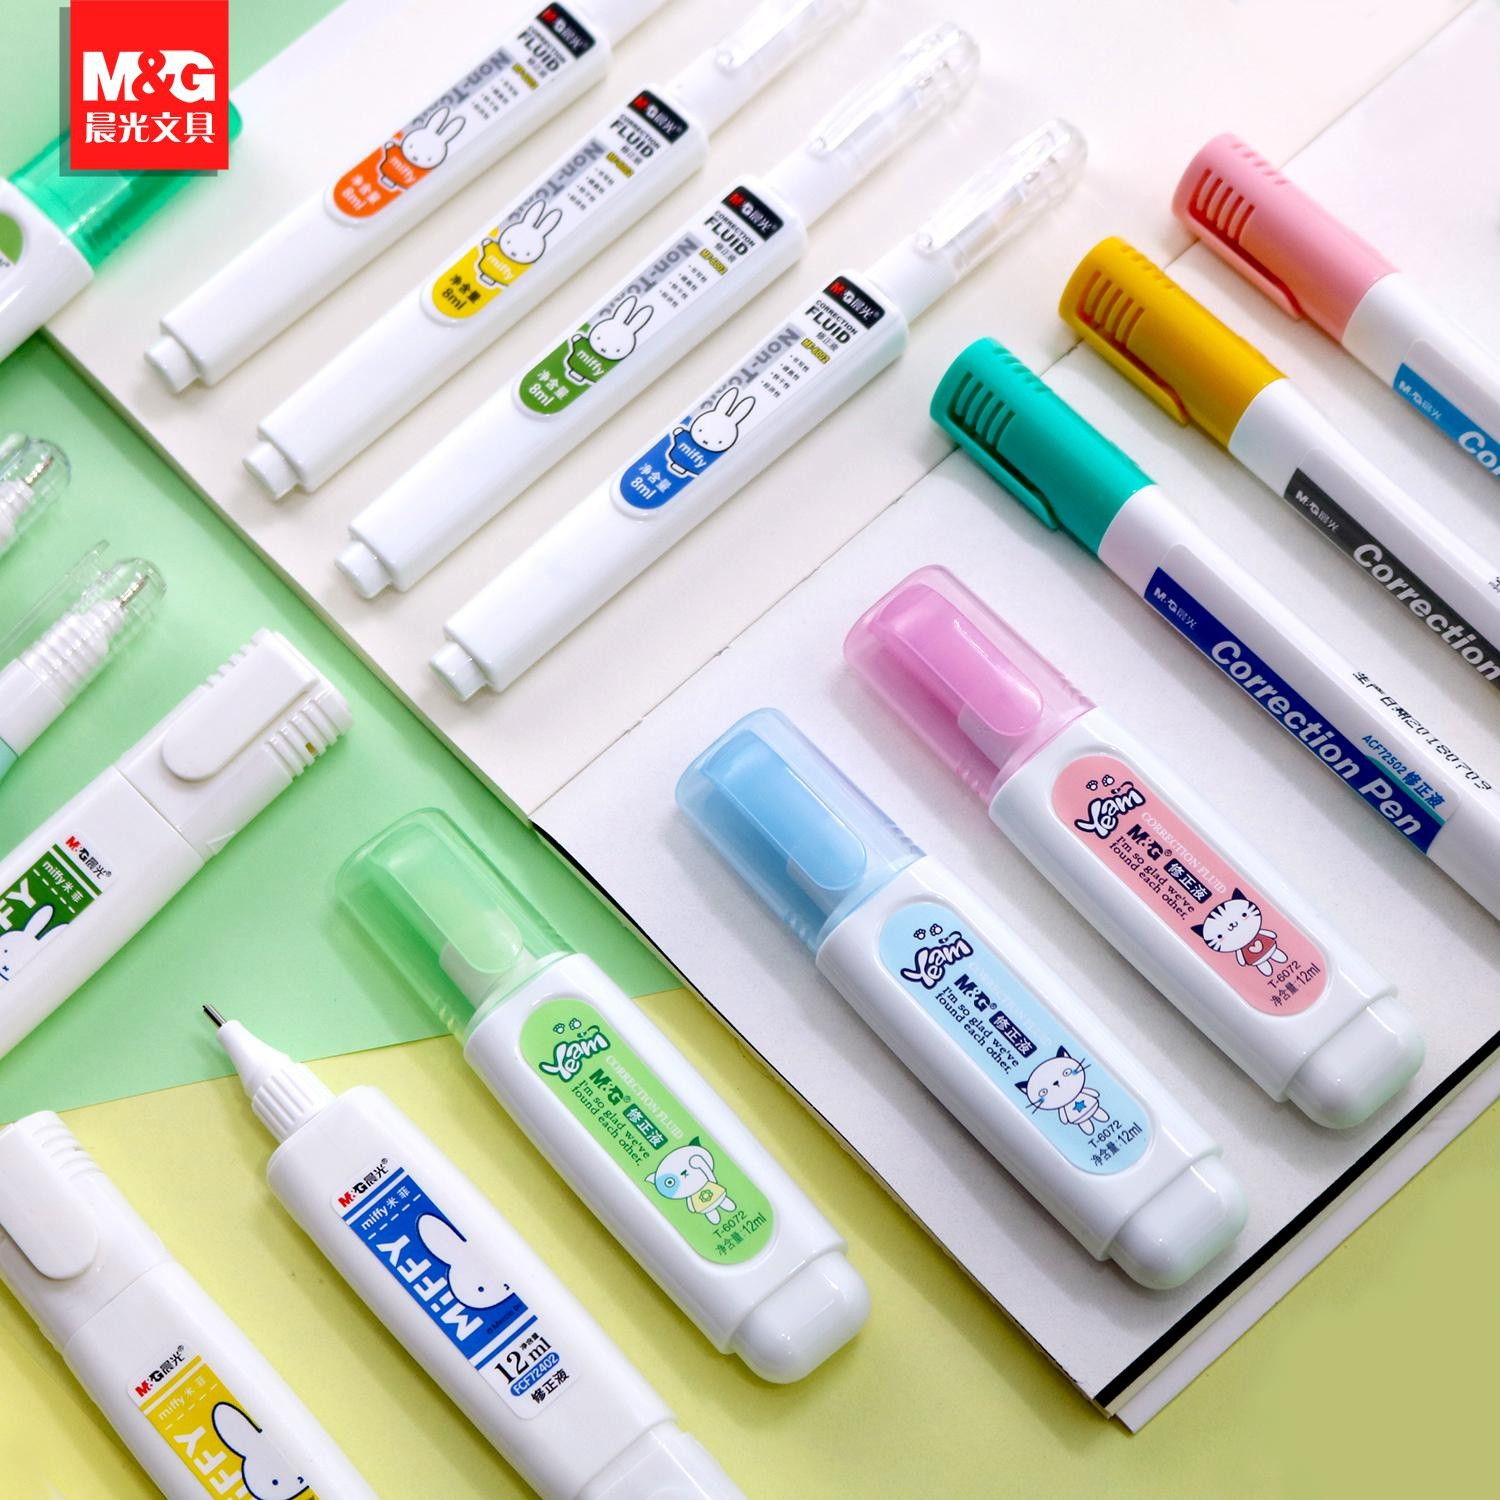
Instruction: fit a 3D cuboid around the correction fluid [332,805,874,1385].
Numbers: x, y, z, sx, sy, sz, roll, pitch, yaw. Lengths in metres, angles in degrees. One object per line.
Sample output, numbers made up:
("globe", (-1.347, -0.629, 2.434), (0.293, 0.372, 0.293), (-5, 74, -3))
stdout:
("correction fluid", (-0.074, 0.119, 0.743), (0.104, 0.377, 0.063), (-34, -14, -6))
